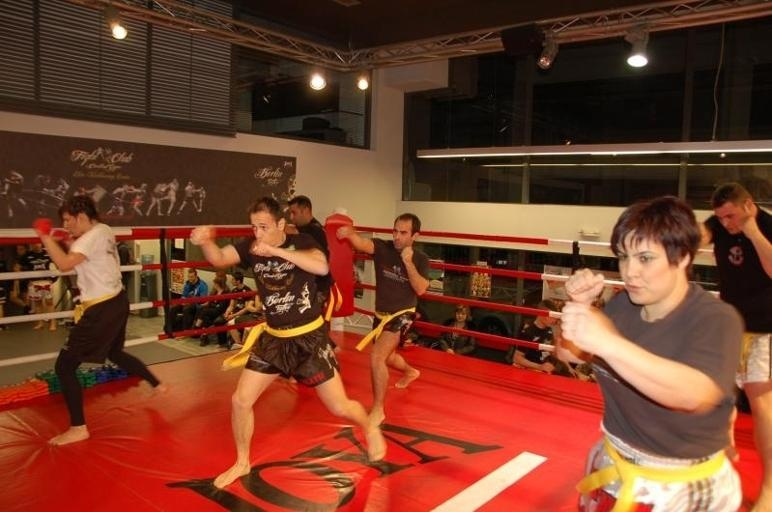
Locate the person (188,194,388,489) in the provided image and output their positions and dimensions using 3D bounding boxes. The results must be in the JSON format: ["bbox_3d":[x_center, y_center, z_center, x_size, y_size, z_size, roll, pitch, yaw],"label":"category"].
[{"bbox_3d":[-0.748,0.574,3.902,1.261,2.000,0.831,-4,15,-19],"label":"person"}]

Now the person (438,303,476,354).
[{"bbox_3d":[0.967,1.045,6.941,0.505,0.751,0.451,10,-3,15],"label":"person"}]

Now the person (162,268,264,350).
[{"bbox_3d":[-2.694,0.822,8.003,1.664,1.519,0.411,-2,0,28],"label":"person"}]

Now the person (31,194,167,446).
[{"bbox_3d":[-2.496,0.475,4.335,0.603,1.901,1.018,3,15,6],"label":"person"}]
